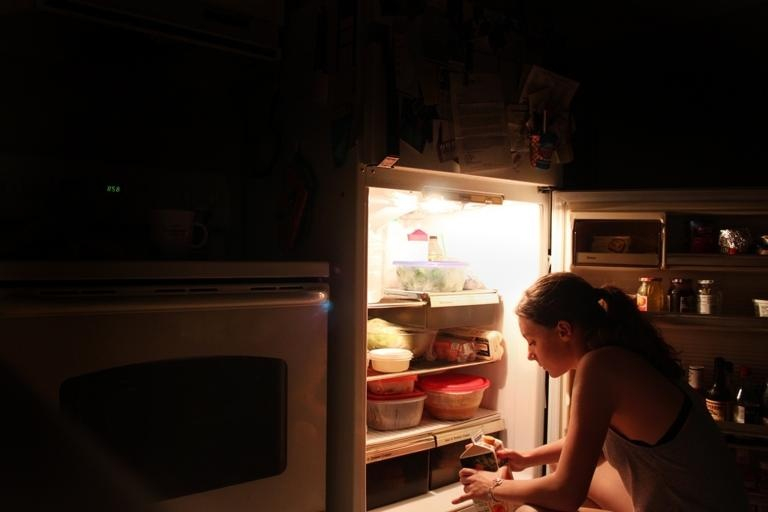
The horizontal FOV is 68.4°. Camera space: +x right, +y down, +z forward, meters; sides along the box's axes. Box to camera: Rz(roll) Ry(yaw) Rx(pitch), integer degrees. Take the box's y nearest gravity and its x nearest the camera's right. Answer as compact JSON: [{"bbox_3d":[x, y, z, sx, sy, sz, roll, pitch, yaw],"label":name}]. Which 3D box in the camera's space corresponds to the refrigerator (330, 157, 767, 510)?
[{"bbox_3d":[0.697,0.353,2.421,1.589,1.479,0.523,1,-3,-28],"label":"refrigerator"}]

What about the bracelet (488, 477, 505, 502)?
[{"bbox_3d":[0.420,0.875,2.115,0.028,0.077,0.066,5,-10,-1],"label":"bracelet"}]

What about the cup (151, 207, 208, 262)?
[{"bbox_3d":[-0.777,-0.100,2.192,0.227,0.169,0.149,0,-1,-30],"label":"cup"}]

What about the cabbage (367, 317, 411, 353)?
[{"bbox_3d":[0.019,0.362,2.621,0.193,0.130,0.109,0,2,-2],"label":"cabbage"}]

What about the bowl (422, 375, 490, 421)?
[{"bbox_3d":[0.324,0.653,2.721,0.239,0.115,0.231,-2,-7,0],"label":"bowl"}]
